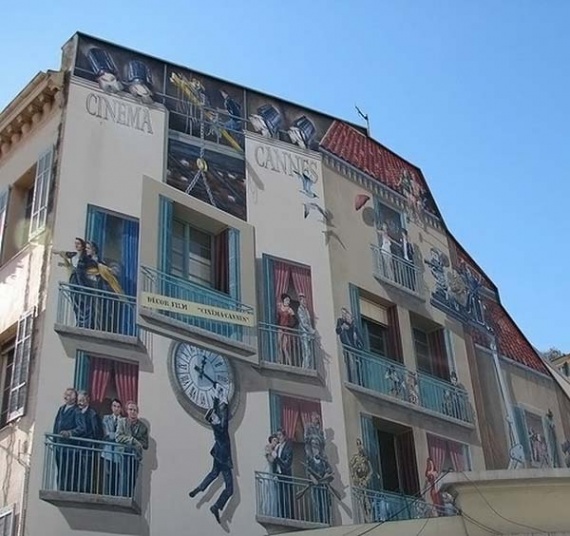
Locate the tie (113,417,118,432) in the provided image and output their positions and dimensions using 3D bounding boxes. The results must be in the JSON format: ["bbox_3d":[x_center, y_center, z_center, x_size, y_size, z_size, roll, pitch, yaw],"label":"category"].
[{"bbox_3d":[-3.563,3.298,12.439,0.032,0.182,0.136,3,-4,8],"label":"tie"}]

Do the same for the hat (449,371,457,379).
[{"bbox_3d":[5.994,3.803,20.906,0.203,0.302,0.110,-28,-7,-44],"label":"hat"}]
